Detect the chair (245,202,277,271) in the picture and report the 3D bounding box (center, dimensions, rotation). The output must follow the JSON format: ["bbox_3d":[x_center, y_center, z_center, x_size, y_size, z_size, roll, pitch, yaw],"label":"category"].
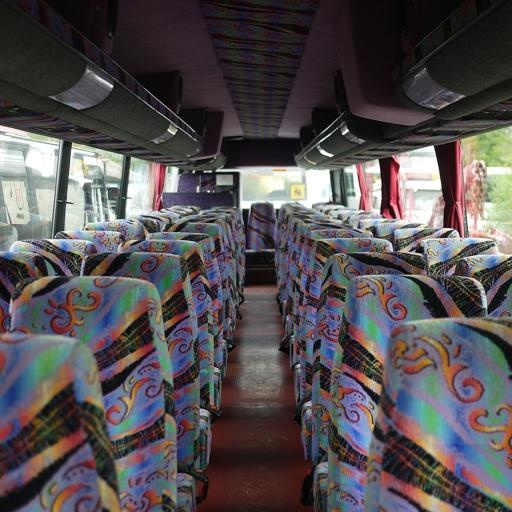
[{"bbox_3d":[0.173,-0.775,9.269,0.671,1.204,0.803,5,30,0],"label":"chair"}]
